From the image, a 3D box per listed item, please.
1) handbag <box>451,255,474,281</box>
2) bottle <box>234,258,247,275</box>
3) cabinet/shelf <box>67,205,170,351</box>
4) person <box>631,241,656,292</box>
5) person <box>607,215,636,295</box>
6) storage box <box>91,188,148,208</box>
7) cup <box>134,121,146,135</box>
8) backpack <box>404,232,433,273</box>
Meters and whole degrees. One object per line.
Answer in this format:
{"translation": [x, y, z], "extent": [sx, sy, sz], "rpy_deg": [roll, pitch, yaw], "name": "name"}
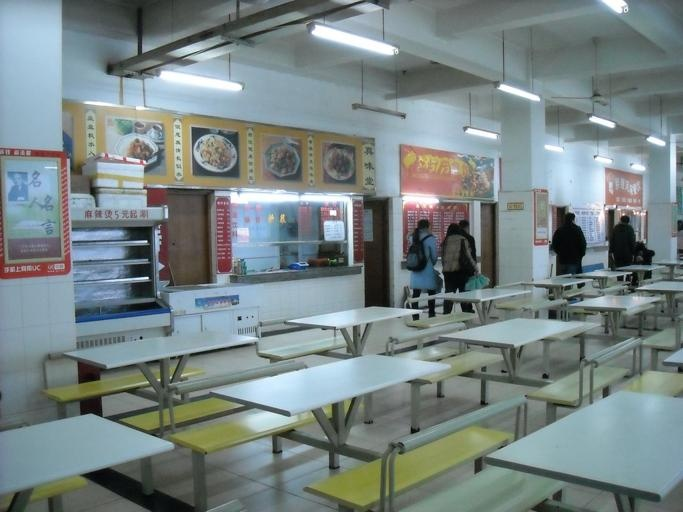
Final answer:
{"translation": [2.035, 0.207, 9.087], "extent": [0.331, 0.598, 0.459], "rpy_deg": [-2, -1, 17], "name": "handbag"}
{"translation": [-1.569, 0.163, 8.624], "extent": [0.223, 0.303, 0.225], "rpy_deg": [0, 4, 0], "name": "bottle"}
{"translation": [-2.566, 0.248, 6.225], "extent": [0.568, 1.620, 1.641], "rpy_deg": [-2, 0, 45], "name": "cabinet/shelf"}
{"translation": [7.358, 0.126, 13.257], "extent": [0.470, 1.004, 0.306], "rpy_deg": [-12, 27, 27], "name": "person"}
{"translation": [6.175, -0.061, 11.890], "extent": [0.537, 1.576, 0.557], "rpy_deg": [3, -1, -26], "name": "person"}
{"translation": [-2.540, -0.672, 6.311], "extent": [0.283, 0.139, 0.358], "rpy_deg": [0, 0, 38], "name": "storage box"}
{"translation": [-2.768, -1.775, 7.523], "extent": [0.159, 0.110, 0.124], "rpy_deg": [5, 4, -27], "name": "cup"}
{"translation": [1.309, -0.046, 9.567], "extent": [0.410, 0.662, 0.370], "rpy_deg": [-5, -11, 34], "name": "backpack"}
